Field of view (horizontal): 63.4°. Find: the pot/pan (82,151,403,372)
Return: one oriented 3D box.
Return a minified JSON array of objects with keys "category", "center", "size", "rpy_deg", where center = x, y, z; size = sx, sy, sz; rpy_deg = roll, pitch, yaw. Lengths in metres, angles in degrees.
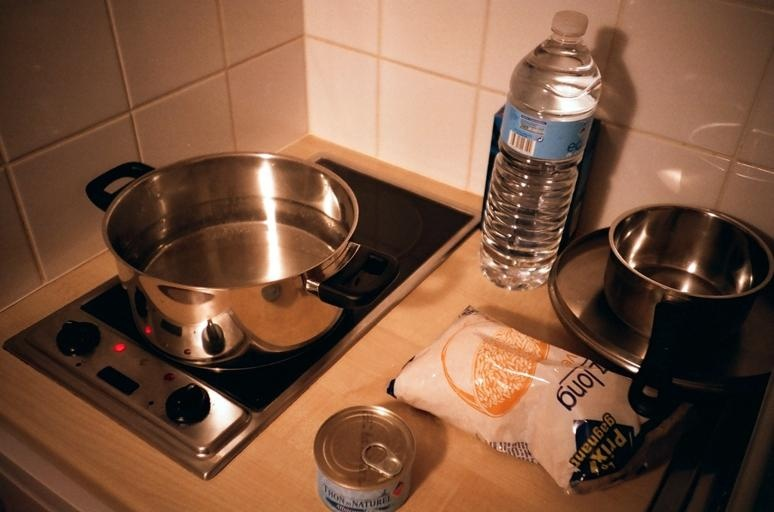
[{"category":"pot/pan","center":[-0.236,-0.008,1.040],"size":[0.470,0.153,0.346],"rpy_deg":[23,45,21]}]

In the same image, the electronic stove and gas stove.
[{"category":"electronic stove and gas stove","center":[-0.164,0.078,1.080],"size":[0.423,0.104,0.607],"rpy_deg":[27,49,26]}]

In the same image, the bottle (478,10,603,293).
[{"category":"bottle","center":[0.261,-0.187,1.070],"size":[0.153,0.416,0.305],"rpy_deg":[14,47,14]}]

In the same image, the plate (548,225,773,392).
[{"category":"plate","center":[0.444,0.066,1.013],"size":[0.353,0.073,0.315],"rpy_deg":[14,46,14]}]
